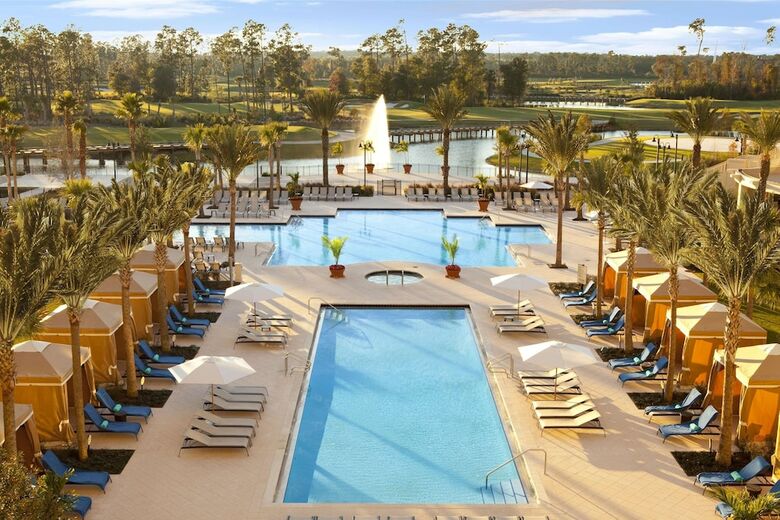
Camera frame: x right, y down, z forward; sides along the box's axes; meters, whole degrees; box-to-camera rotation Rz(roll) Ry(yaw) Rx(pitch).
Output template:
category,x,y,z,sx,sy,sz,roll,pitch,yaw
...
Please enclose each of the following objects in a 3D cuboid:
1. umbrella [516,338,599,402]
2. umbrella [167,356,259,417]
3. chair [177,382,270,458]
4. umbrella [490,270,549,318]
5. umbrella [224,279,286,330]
category,x,y,z,sx,sy,sz,roll,pitch,yaw
umbrella,5.440,3.764,20.579,1.801,1.300,2.053,8,-10,-19
umbrella,-5.586,3.811,19.349,2.082,1.445,2.007,-6,8,-36
chair,-4.950,4.744,18.992,1.969,1.210,2.732,-2,12,5
umbrella,5.472,1.315,26.400,2.493,1.771,2.299,5,22,22
umbrella,-5.497,1.987,25.354,2.300,2.307,2.392,2,13,9
